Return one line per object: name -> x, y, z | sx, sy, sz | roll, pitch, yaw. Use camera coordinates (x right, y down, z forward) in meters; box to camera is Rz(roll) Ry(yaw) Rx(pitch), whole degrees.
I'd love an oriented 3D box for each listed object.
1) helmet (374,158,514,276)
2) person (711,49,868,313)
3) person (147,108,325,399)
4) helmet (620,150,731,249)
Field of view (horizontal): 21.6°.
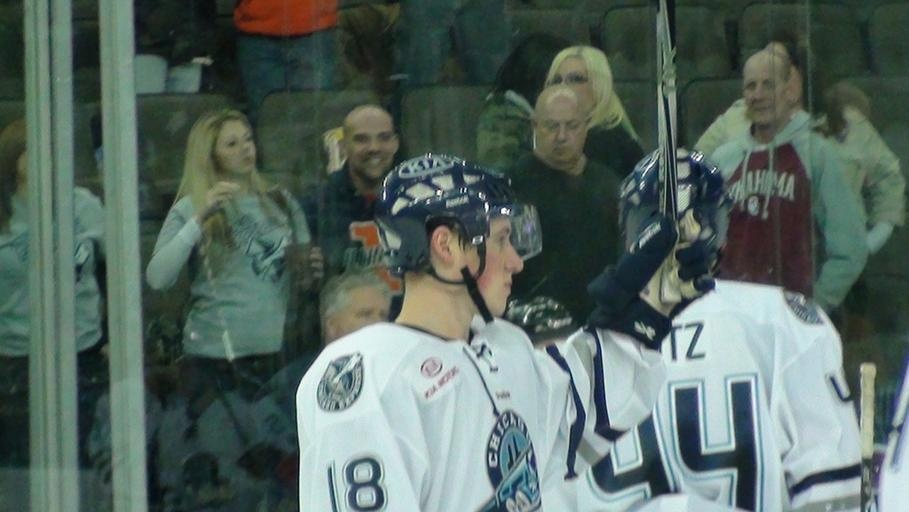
helmet -> -0.020, -0.131, 7.777 | 0.499, 0.419, 0.387 | -5, 13, 4
person -> 1.061, -0.186, 7.886 | 0.484, 0.954, 0.228 | 6, 33, 22
person -> -0.662, 0.159, 7.602 | 0.543, 1.229, 0.356 | -5, 6, -15
helmet -> 0.780, -0.138, 7.951 | 0.366, 0.450, 0.467 | 3, -5, 9
